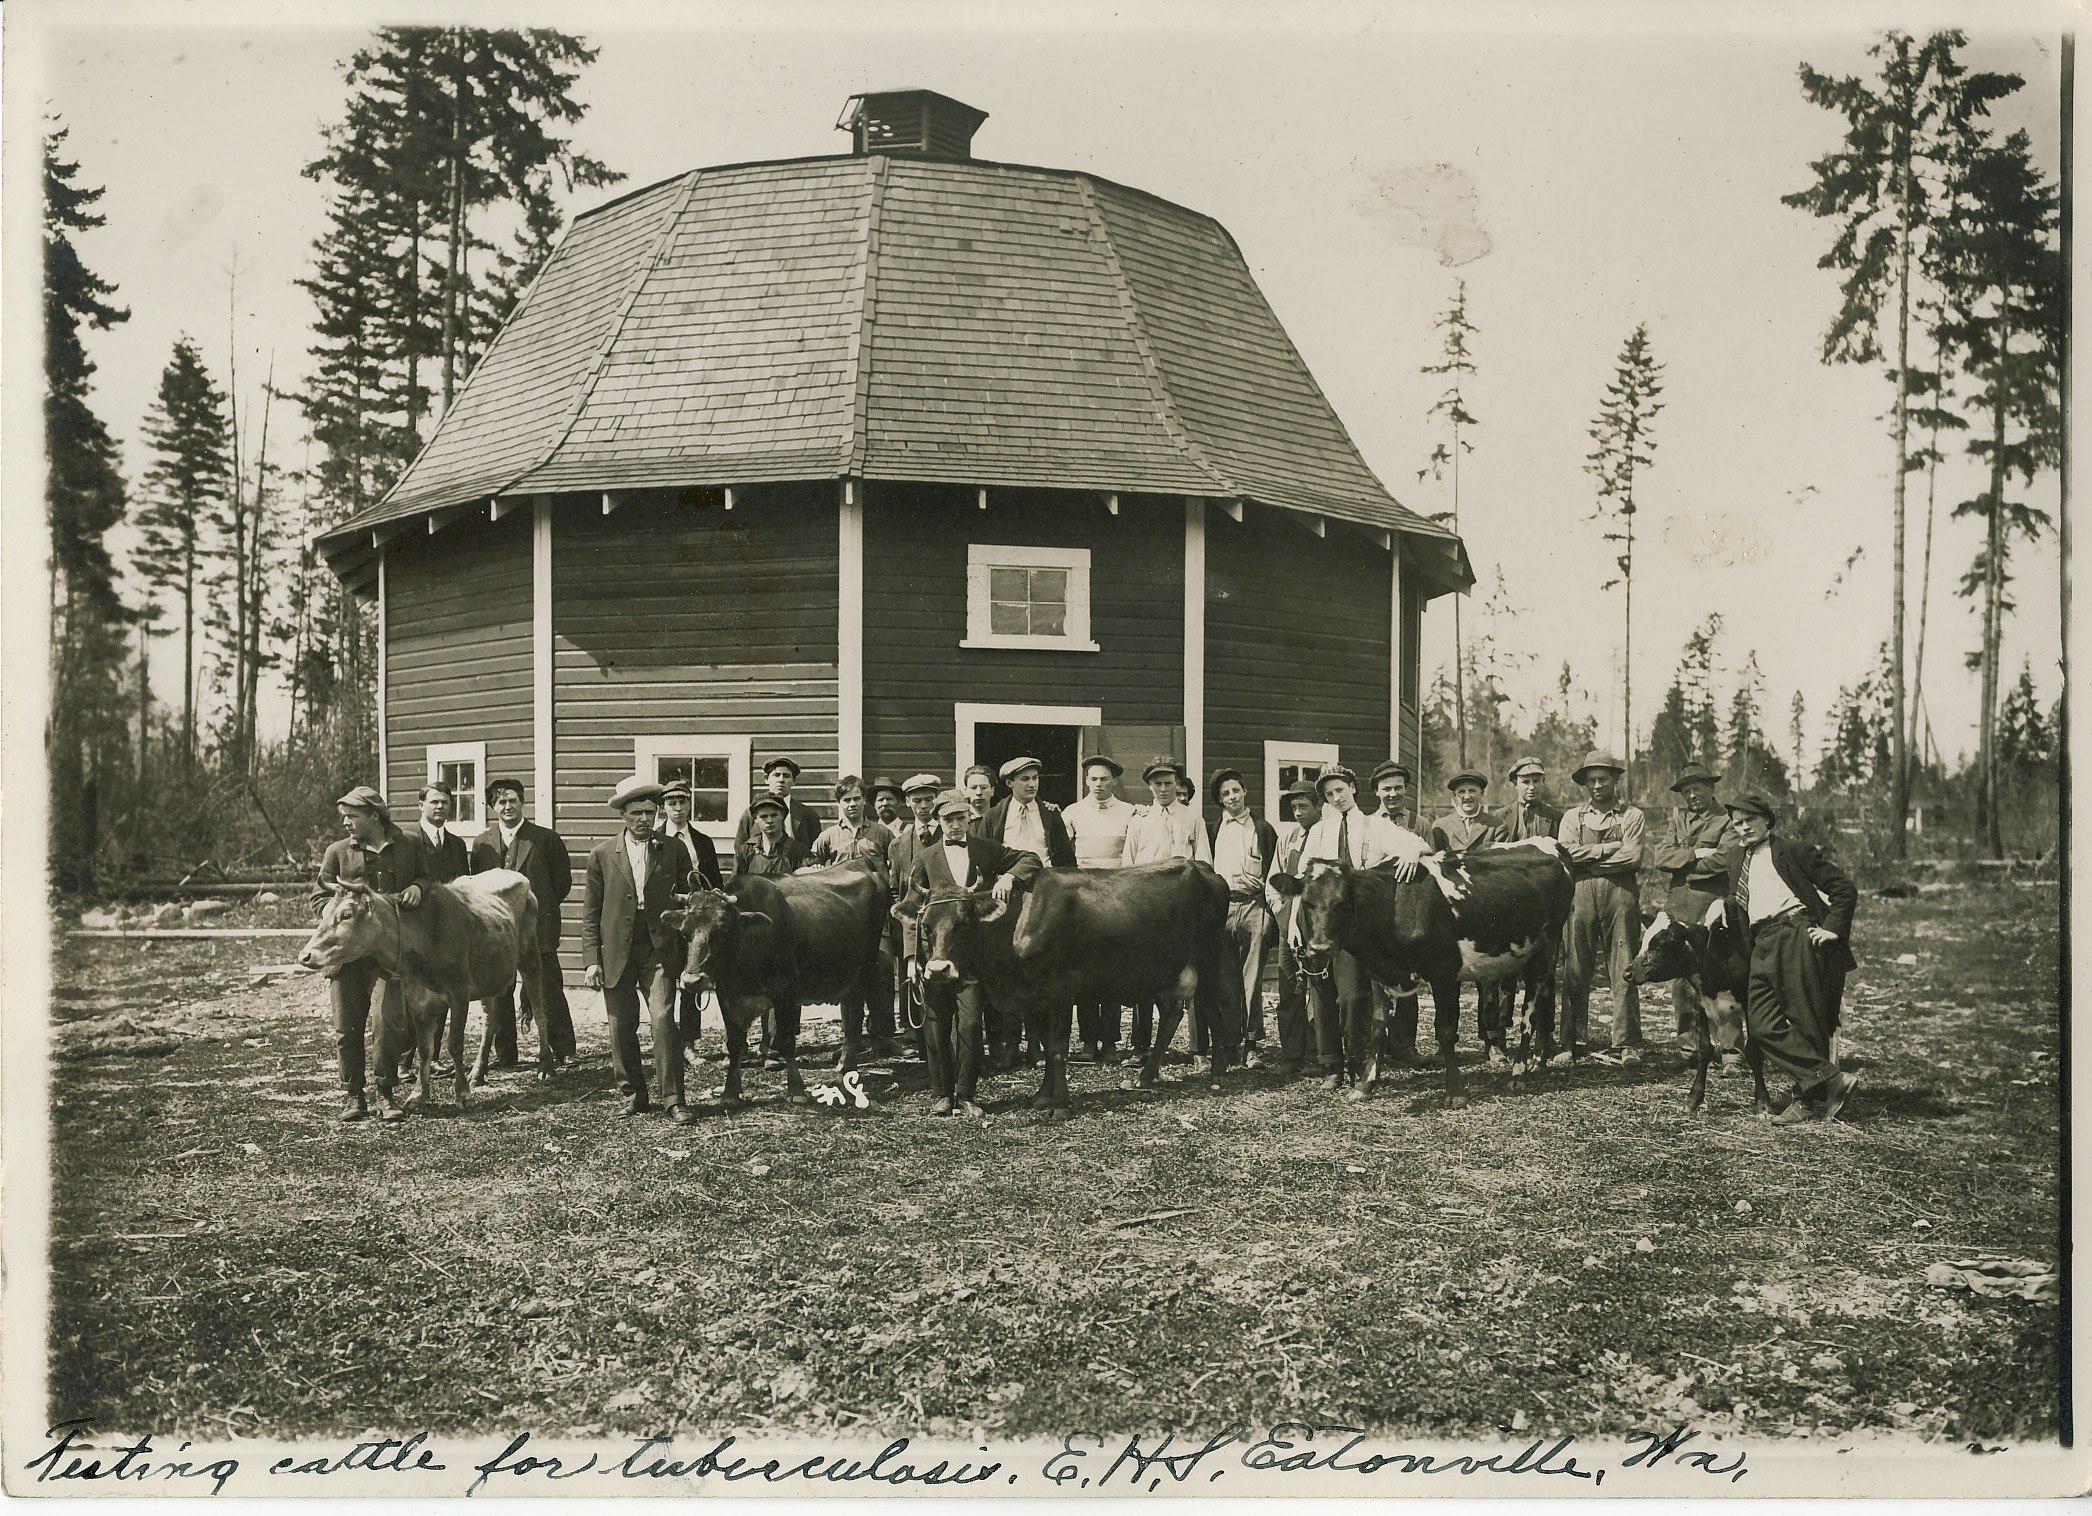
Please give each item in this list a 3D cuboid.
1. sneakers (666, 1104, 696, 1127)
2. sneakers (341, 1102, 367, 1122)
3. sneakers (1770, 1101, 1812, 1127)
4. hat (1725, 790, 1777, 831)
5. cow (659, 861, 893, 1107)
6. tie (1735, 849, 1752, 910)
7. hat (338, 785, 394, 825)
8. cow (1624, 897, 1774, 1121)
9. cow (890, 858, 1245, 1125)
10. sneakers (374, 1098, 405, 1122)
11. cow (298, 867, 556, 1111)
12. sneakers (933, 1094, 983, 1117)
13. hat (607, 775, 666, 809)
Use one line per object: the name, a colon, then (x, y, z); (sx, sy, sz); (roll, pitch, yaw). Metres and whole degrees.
sneakers: (-3.506, 3.398, 23.355); (0.123, 0.126, 0.279); (3, -5, -43)
sneakers: (-6.690, 3.364, 23.486); (0.229, 0.221, 0.118); (1, -2, -21)
sneakers: (7.215, 3.361, 23.318); (0.427, 0.297, 0.176); (0, -2, 24)
hat: (6.740, 0.501, 23.058); (0.446, 0.431, 0.397); (1, -2, -4)
cow: (-2.619, 2.179, 23.923); (1.079, 2.305, 3.214); (-1, -1, 30)
tie: (6.634, 1.115, 23.089); (0.162, 0.487, 0.075); (-1, -2, 29)
hat: (-6.557, 0.438, 23.452); (0.303, 0.338, 0.580); (0, -2, 12)
cow: (6.499, 2.413, 23.668); (2.271, 1.696, 0.806); (10, 5, -24)
cow: (0.400, 2.122, 24.000); (3.558, 2.244, 1.022); (0, -2, -23)
sneakers: (-6.328, 3.365, 23.506); (0.246, 0.218, 0.150); (1, -2, -7)
cow: (-5.899, 2.188, 23.875); (0.948, 2.165, 3.096); (-4, 0, 22)
sneakers: (-0.807, 3.368, 23.585); (0.546, 0.246, 0.180); (9, -11, -15)
hat: (-3.893, 0.310, 23.308); (0.453, 0.321, 0.562); (1, -2, -9)
